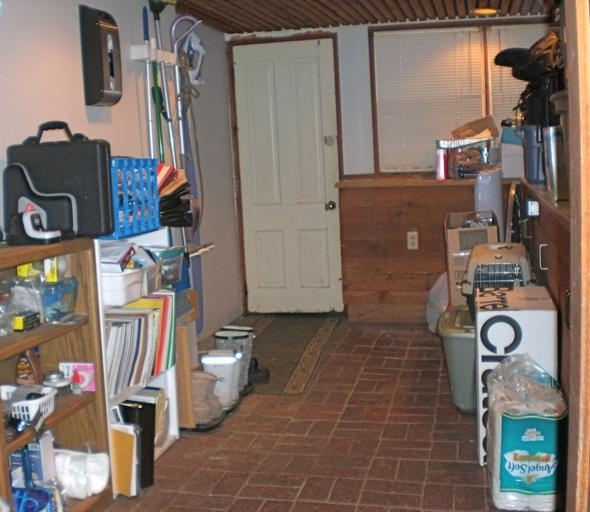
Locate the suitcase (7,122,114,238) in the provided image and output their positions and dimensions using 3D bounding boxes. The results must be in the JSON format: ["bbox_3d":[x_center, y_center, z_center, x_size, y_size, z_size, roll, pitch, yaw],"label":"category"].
[{"bbox_3d":[-0.964,-0.289,2.190,0.468,0.607,0.190,0,6,7],"label":"suitcase"}]

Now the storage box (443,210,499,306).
[{"bbox_3d":[1.262,0.012,3.881,0.383,0.595,0.755,0,9,17],"label":"storage box"}]

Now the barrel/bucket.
[{"bbox_3d":[0.928,0.615,3.111,0.204,0.556,0.407,0,9,16],"label":"barrel/bucket"}]

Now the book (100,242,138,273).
[{"bbox_3d":[-0.786,0.008,2.389,0.129,0.035,0.143,1,42,8],"label":"book"}]

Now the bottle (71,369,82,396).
[{"bbox_3d":[-0.909,0.519,2.236,0.038,0.099,0.032,-2,9,7],"label":"bottle"}]
